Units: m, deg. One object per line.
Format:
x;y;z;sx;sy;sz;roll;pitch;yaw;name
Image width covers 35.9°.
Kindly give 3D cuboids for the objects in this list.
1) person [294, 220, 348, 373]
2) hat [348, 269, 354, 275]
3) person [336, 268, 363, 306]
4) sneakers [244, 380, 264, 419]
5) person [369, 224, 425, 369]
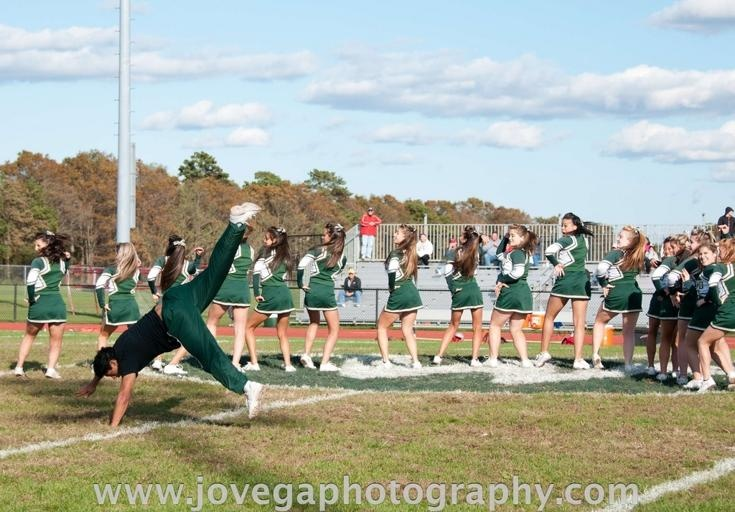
-0.787;0.728;19.536;0.794;2.631;1.560;0;11;-2;person
-0.400;0.455;28.786;0.098;0.124;0.130;0;-27;2;hat
-0.431;0.906;29.935;0.775;1.194;0.909;1;-3;9;person
-1.520;2.043;15.256;0.283;0.629;0.211;-3;27;0;sneakers
0.567;0.748;19.607;0.733;2.548;1.226;1;11;2;person
